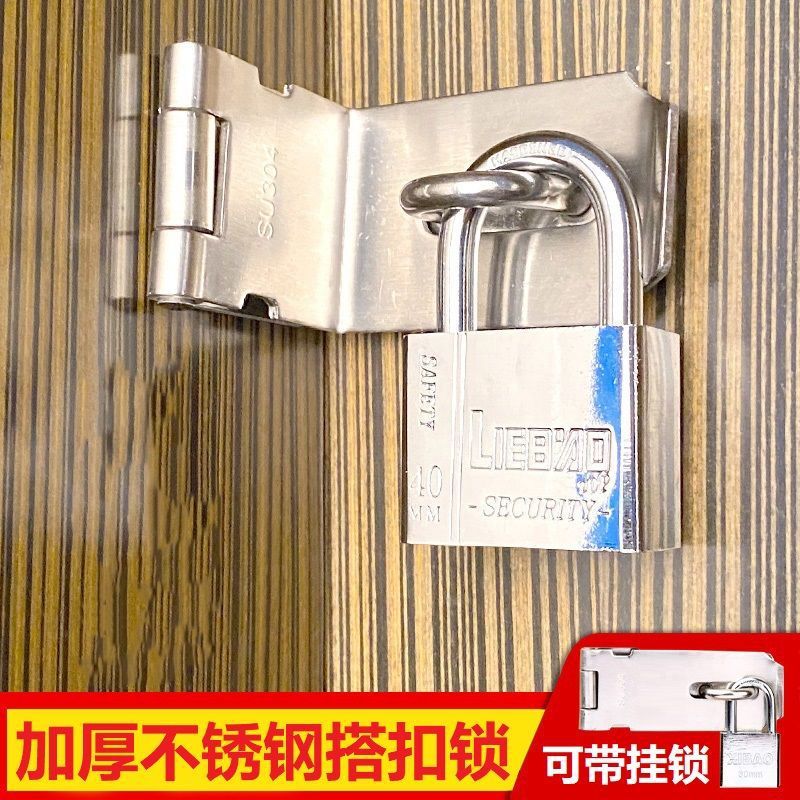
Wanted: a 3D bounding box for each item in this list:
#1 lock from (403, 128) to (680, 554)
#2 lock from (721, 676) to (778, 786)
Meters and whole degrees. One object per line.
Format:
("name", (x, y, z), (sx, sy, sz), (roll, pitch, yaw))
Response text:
("lock", (0.074, -0.028, 1.571), (0.142, 0.307, 0.103), (1, -32, 6))
("lock", (0.212, 0.206, 1.591), (0.037, 0.014, 0.094), (-3, 41, 11))
